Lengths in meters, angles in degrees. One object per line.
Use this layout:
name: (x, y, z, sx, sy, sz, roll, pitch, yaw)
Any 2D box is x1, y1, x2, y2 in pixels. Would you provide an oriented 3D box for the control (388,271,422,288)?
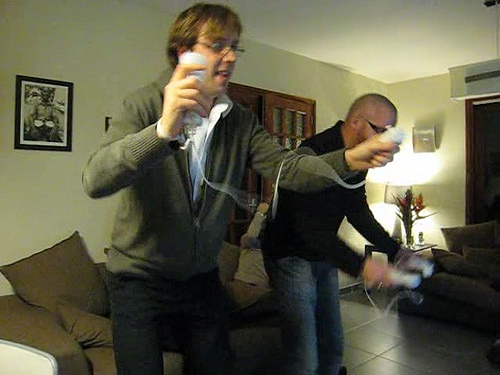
control: (0.286, 0.165, 0.867, 0.042, 0.014, 0.032, -1, -5, 39)

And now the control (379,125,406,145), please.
control: (0.243, -0.091, 0.802, 0.043, 0.031, 0.011, 2, 6, 16)

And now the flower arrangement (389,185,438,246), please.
flower arrangement: (0.272, 0.058, 0.837, 0.091, 0.109, 0.073, -4, 8, 4)

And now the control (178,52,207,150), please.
control: (-0.089, -0.141, 0.805, 0.049, 0.167, 0.051, 6, 29, 5)

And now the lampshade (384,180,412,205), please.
lampshade: (0.255, 0.009, 0.817, 0.043, 0.039, 0.043, 1, -1, -9)

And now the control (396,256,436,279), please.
control: (0.305, 0.143, 0.862, 0.049, 0.017, 0.049, 2, 1, -32)
